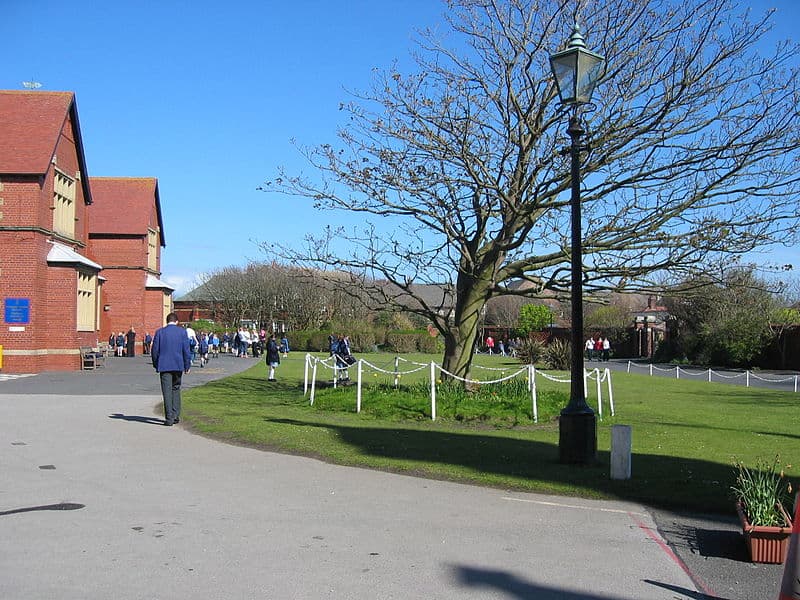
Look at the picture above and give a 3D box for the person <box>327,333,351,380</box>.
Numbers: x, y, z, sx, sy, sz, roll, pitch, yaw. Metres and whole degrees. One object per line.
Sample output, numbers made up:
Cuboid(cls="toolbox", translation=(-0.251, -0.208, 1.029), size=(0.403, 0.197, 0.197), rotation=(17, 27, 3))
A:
Cuboid(cls="person", translation=(-2.138, 2.045, 27.460), size=(0.800, 2.045, 0.634), rotation=(-10, 15, -29))
